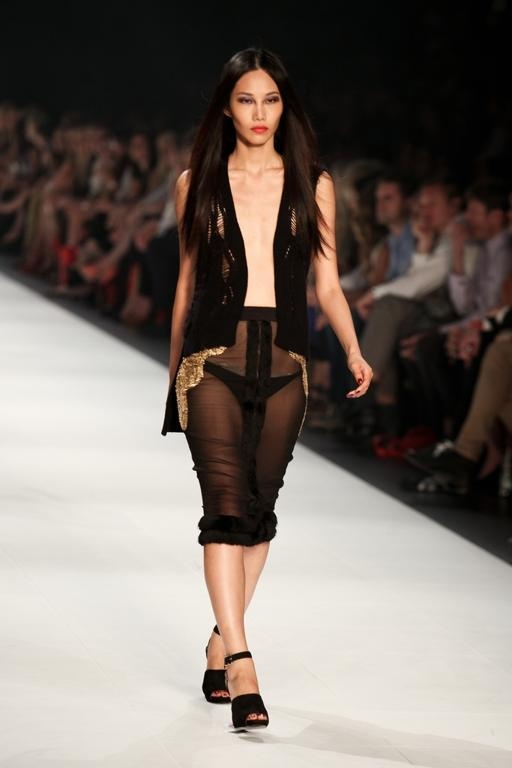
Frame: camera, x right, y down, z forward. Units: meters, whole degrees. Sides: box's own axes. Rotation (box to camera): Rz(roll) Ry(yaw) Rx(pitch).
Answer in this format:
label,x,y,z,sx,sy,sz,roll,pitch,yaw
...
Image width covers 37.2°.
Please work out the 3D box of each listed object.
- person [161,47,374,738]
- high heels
label,x,y,z,sx,sy,sz,roll,pitch,yaw
person,0.051,-0.065,1.732,0.434,1.002,0.648,5,3,-20
high heels,-0.026,0.622,1.550,0.083,0.109,0.284,-1,-6,-13
